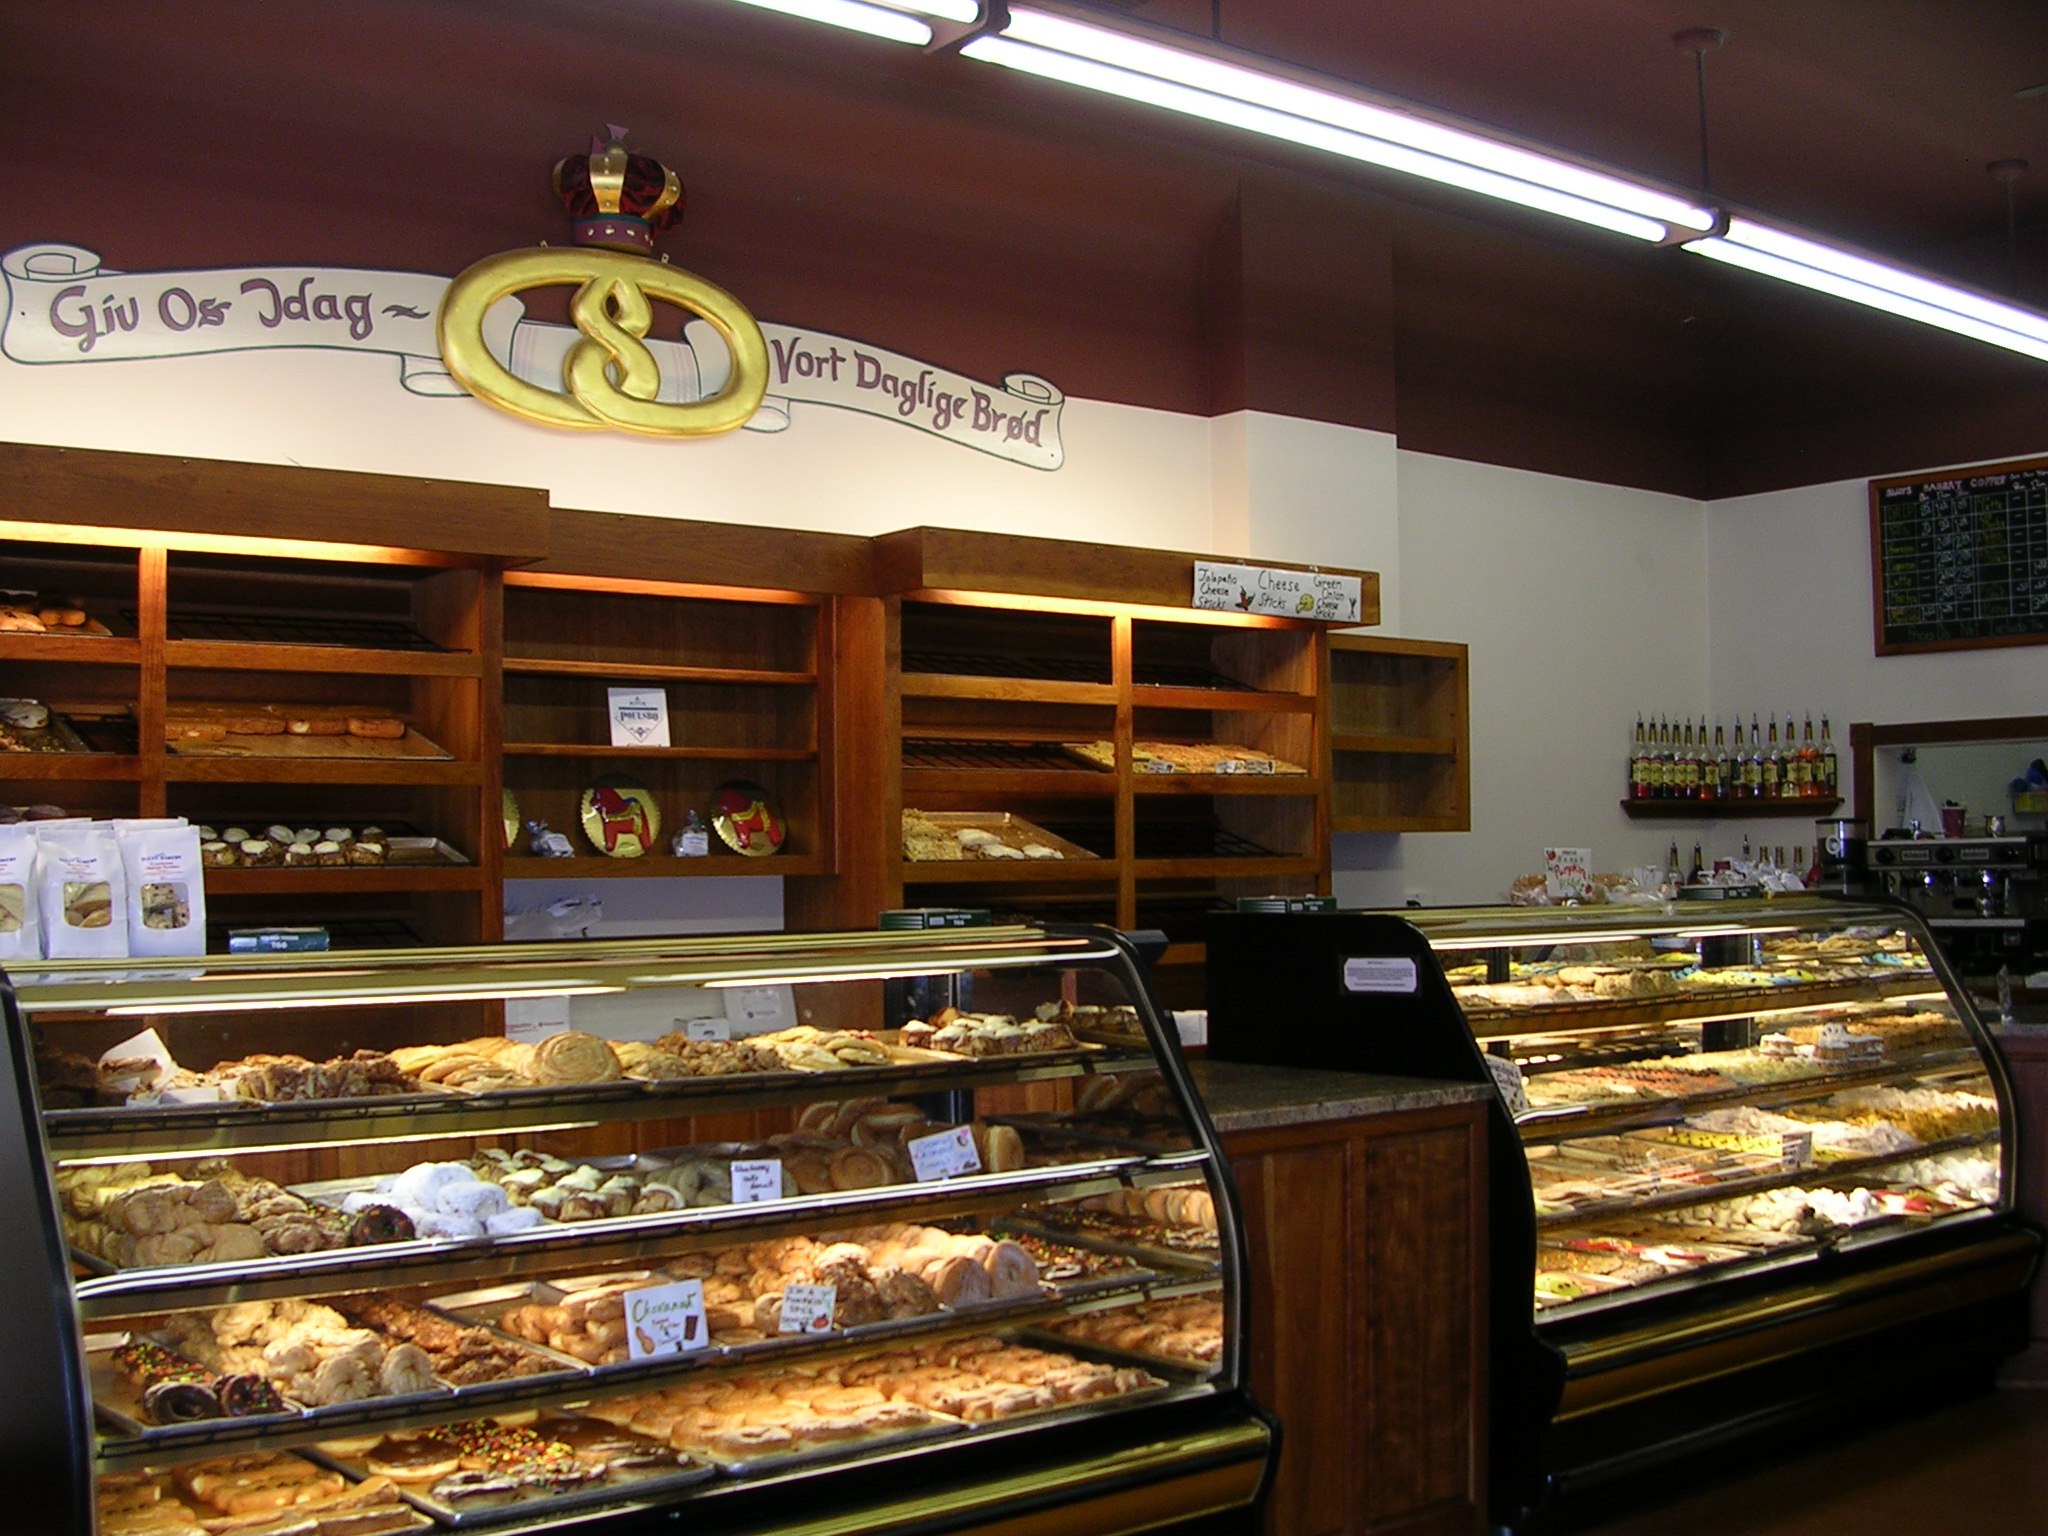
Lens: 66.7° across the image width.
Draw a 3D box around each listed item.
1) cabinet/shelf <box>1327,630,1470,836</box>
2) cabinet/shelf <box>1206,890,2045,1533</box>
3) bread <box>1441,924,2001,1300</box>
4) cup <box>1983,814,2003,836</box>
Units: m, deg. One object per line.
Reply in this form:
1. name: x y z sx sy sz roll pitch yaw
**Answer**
1. cabinet/shelf: 1.686 -0.164 7.075 1.164 0.834 0.349 5 -7 -28
2. cabinet/shelf: 1.632 1.260 4.296 2.124 1.041 0.899 1 -4 -36
3. bread: 2.009 1.030 4.596 1.716 0.669 0.598 0 -4 -30
4. cup: 5.221 0.307 8.378 0.139 0.112 0.124 -2 4 20
